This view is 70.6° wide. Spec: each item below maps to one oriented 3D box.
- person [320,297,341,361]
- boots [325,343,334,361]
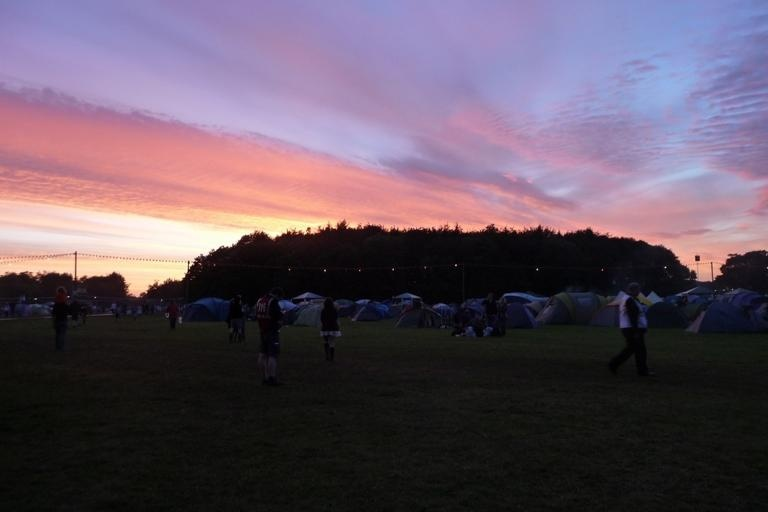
[{"bbox_3d":[-1.848,2.444,18.484,0.573,2.026,1.537,2,-5,-5],"label":"person"},{"bbox_3d":[-1.814,3.153,18.017,0.282,0.543,0.736,2,-5,-11],"label":"boots"}]
